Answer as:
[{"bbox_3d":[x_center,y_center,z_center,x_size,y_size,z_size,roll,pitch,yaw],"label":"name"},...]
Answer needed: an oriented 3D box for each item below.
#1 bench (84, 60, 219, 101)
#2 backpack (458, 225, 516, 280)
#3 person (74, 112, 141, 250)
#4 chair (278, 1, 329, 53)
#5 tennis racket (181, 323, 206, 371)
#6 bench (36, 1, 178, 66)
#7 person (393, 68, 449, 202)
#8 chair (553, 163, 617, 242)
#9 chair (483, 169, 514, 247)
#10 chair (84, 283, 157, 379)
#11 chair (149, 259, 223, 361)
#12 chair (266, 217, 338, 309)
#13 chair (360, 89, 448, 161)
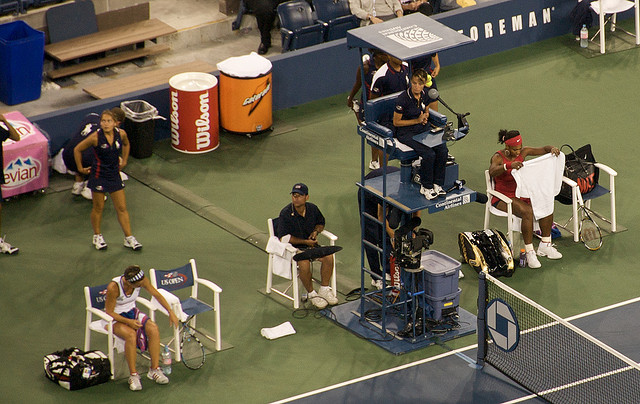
[{"bbox_3d":[-4.163,-2.883,18.203,2.835,0.264,0.909,-17,28,-21],"label":"bench"},{"bbox_3d":[3.122,0.899,14.056,0.847,0.455,1.121,-21,48,-27],"label":"backpack"},{"bbox_3d":[-3.932,-0.458,14.231,1.353,2.637,0.968,3,15,-8],"label":"person"},{"bbox_3d":[-0.484,-4.554,19.532,1.242,1.096,0.888,-11,25,-9],"label":"chair"},{"bbox_3d":[-2.089,2.261,12.236,0.385,0.632,0.640,-11,26,-9],"label":"tennis racket"},{"bbox_3d":[-5.497,-4.445,19.877,3.107,1.103,1.331,-24,30,-32],"label":"bench"},{"bbox_3d":[1.601,-1.069,11.887,0.786,1.895,0.985,-12,26,-12],"label":"person"},{"bbox_3d":[5.140,0.044,14.738,0.949,1.390,0.966,-16,24,-16],"label":"chair"},{"bbox_3d":[3.377,0.107,14.238,0.605,1.363,0.575,3,27,20],"label":"chair"},{"bbox_3d":[-3.198,1.978,12.009,0.875,1.201,0.939,15,16,24],"label":"chair"},{"bbox_3d":[-2.185,1.753,12.231,0.954,1.353,0.891,-8,17,-35],"label":"chair"},{"bbox_3d":[-0.338,1.000,13.455,1.083,1.441,1.006,-11,18,-34],"label":"chair"},{"bbox_3d":[1.479,-1.182,12.103,1.408,0.960,1.023,-19,27,-29],"label":"chair"}]
